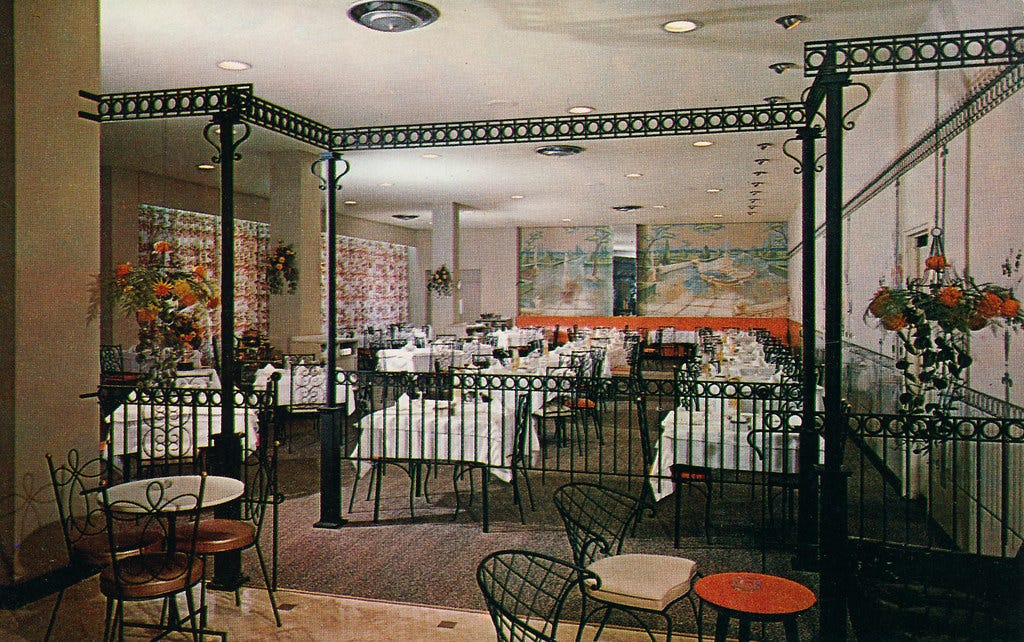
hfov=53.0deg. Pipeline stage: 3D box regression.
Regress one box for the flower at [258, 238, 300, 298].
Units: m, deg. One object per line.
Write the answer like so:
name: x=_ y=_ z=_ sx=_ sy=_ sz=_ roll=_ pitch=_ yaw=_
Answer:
flower: x=-3.240 y=-0.744 z=14.465 sx=0.507 sy=0.733 sz=0.227 roll=0 pitch=-1 yaw=36
